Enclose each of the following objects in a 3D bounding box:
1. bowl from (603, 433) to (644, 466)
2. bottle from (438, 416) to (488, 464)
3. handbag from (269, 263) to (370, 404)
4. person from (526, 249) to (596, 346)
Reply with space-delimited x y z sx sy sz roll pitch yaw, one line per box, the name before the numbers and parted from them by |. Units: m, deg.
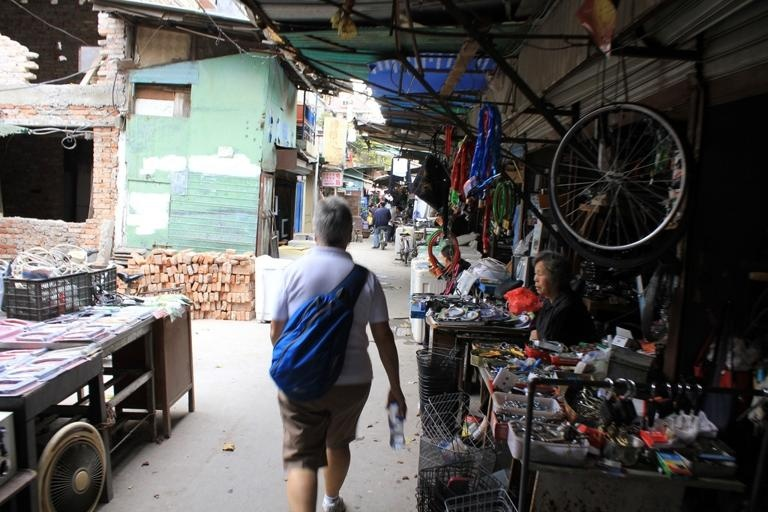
bowl | 1.663 1.345 4.096 0.263 0.146 0.134 2 3 -28
bottle | 0.733 1.688 5.344 0.322 0.466 0.530 5 33 19
handbag | -0.494 0.555 4.367 0.546 0.910 0.356 18 5 -11
person | 1.724 0.431 6.031 0.765 1.173 0.892 -3 -3 18
